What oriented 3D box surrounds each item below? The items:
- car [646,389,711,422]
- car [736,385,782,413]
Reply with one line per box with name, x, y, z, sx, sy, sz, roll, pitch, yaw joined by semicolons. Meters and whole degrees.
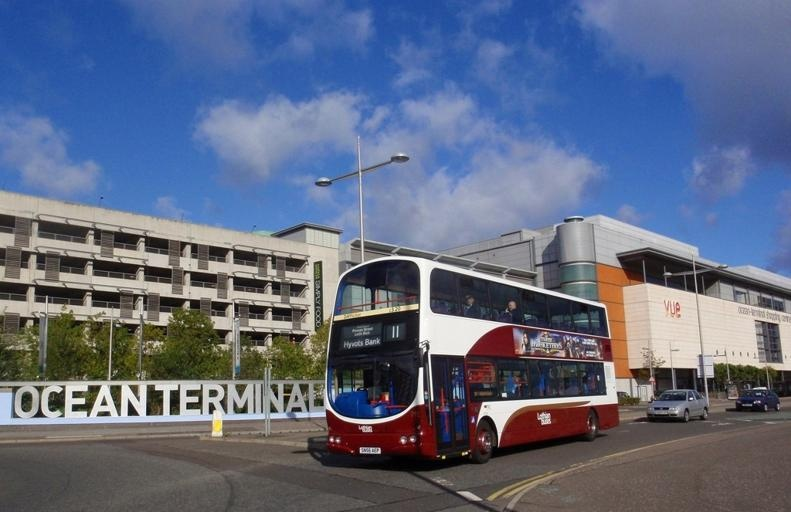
car;17.324;9.282;41.014;4.040;1.827;1.908;2;-5;-36
car;26.952;10.822;49.548;3.863;1.608;1.918;3;-6;-42
